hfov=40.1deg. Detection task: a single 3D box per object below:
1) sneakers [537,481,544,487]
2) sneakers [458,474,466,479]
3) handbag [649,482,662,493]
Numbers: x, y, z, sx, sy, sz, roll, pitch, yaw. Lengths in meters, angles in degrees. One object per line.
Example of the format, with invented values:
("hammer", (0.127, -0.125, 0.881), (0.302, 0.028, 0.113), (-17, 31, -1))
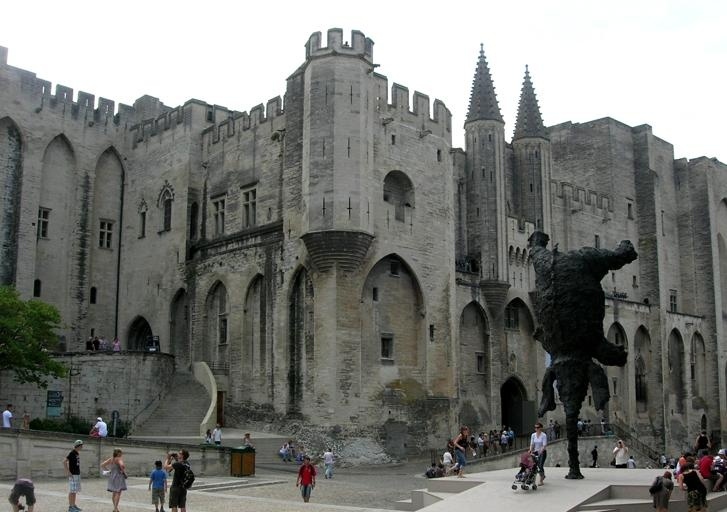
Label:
("sneakers", (6.909, 8.761, 38.227), (0.295, 0.175, 0.097), (15, -21, -40))
("sneakers", (4.113, 8.957, 40.636), (0.309, 0.102, 0.232), (0, -26, -7))
("handbag", (10.794, 8.481, 36.457), (0.260, 0.410, 0.479), (17, 24, 16))
